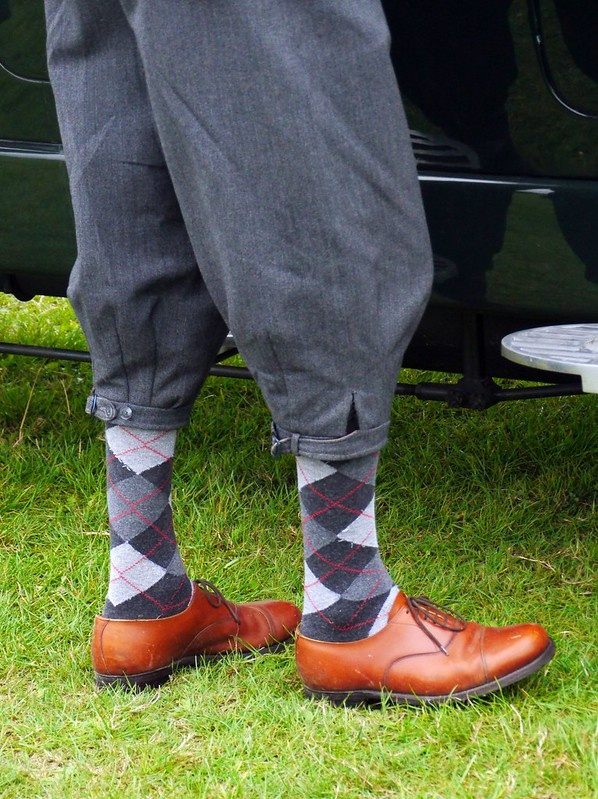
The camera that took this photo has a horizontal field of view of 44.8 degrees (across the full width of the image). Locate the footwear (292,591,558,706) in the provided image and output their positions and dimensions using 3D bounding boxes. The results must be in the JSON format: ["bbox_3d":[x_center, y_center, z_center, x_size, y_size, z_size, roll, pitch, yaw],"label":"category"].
[{"bbox_3d":[0.181,0.344,1.006,0.306,0.108,0.158,-6,6,9],"label":"footwear"}]

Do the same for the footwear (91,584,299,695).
[{"bbox_3d":[-0.163,0.370,1.220,0.390,0.132,0.140,-1,0,-41],"label":"footwear"}]

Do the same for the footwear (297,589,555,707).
[{"bbox_3d":[0.180,0.355,1.006,0.302,0.105,0.160,-5,6,9],"label":"footwear"}]

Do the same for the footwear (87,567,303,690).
[{"bbox_3d":[-0.156,0.373,1.210,0.373,0.122,0.129,-3,-2,-36],"label":"footwear"}]
